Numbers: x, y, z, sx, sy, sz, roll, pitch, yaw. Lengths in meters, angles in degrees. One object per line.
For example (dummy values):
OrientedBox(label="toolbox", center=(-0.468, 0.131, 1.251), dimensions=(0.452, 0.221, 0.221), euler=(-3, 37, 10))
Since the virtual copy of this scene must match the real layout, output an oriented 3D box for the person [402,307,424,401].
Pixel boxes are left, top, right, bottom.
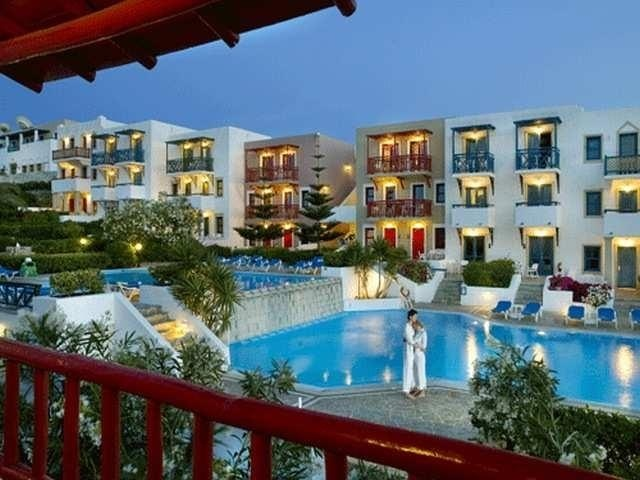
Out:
OrientedBox(label="person", center=(1.812, 2.225, 11.080), dimensions=(0.339, 1.668, 0.521), euler=(0, 1, 8))
